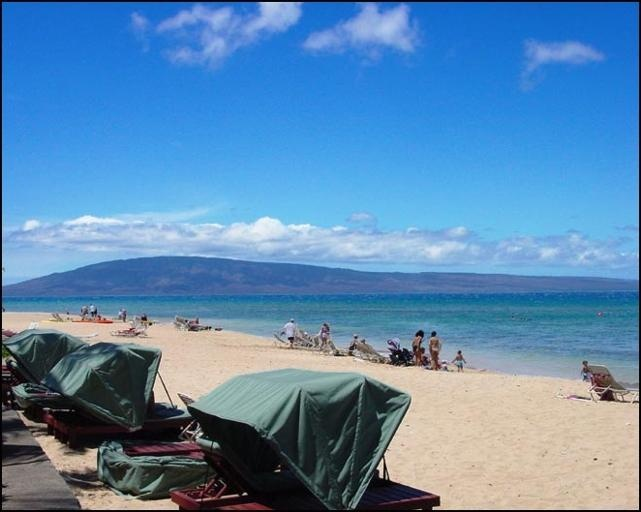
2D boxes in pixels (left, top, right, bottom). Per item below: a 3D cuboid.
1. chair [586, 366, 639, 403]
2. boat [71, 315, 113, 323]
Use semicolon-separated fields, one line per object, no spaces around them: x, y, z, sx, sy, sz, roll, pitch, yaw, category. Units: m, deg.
9.232;3.984;16.733;1.278;1.134;3.349;-3;-7;29;chair
-20.495;5.729;47.210;2.570;0.480;9.912;4;-7;-28;boat
